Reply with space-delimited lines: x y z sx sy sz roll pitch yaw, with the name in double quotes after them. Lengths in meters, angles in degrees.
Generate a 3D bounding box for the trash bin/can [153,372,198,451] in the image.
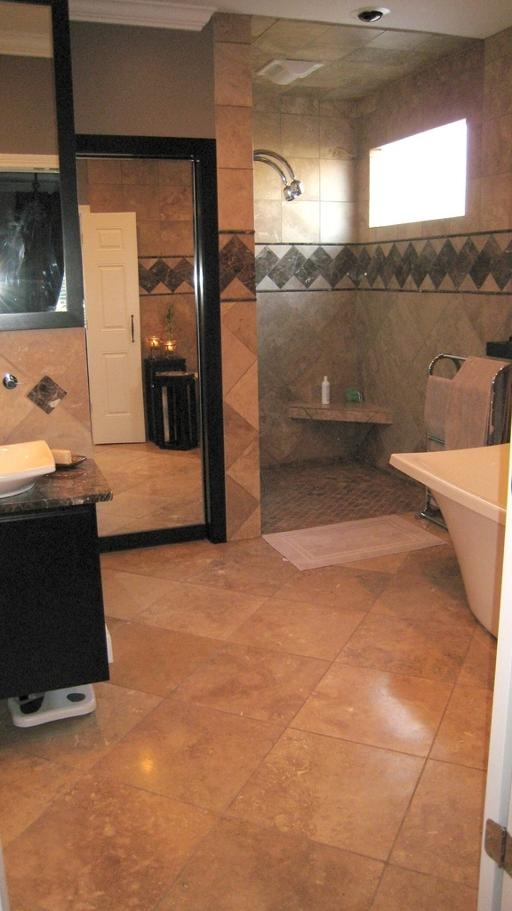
-0.436 -0.182 3.358 0.178 0.304 0.190 -4 -4 -22 "trash bin/can"

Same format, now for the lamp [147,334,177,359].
-0.473 -0.551 3.236 0.090 0.100 0.121 5 8 23 "lamp"
